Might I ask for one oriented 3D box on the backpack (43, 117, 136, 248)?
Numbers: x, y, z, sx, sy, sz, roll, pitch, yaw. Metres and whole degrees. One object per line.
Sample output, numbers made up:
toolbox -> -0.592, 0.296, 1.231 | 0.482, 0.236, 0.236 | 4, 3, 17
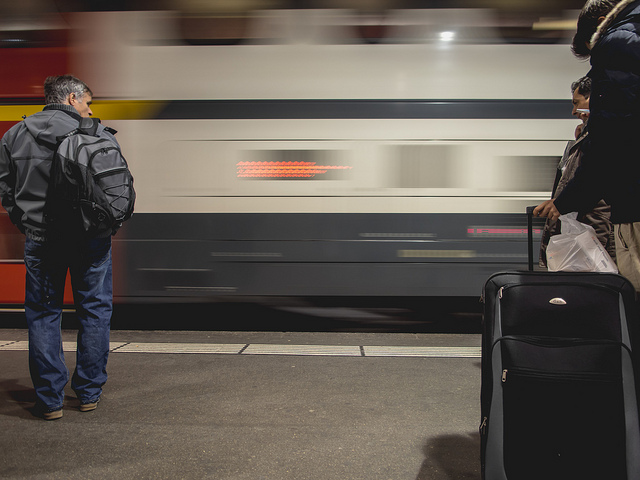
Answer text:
backpack -> -1.654, -0.400, 5.593 | 0.626, 0.940, 0.289 | 1, 12, -10

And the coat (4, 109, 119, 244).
coat -> -1.821, -0.431, 5.511 | 1.342, 0.885, 0.574 | 2, 12, -4

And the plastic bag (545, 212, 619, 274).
plastic bag -> 1.595, 0.019, 4.877 | 0.280, 0.336, 0.421 | -22, 13, -34
